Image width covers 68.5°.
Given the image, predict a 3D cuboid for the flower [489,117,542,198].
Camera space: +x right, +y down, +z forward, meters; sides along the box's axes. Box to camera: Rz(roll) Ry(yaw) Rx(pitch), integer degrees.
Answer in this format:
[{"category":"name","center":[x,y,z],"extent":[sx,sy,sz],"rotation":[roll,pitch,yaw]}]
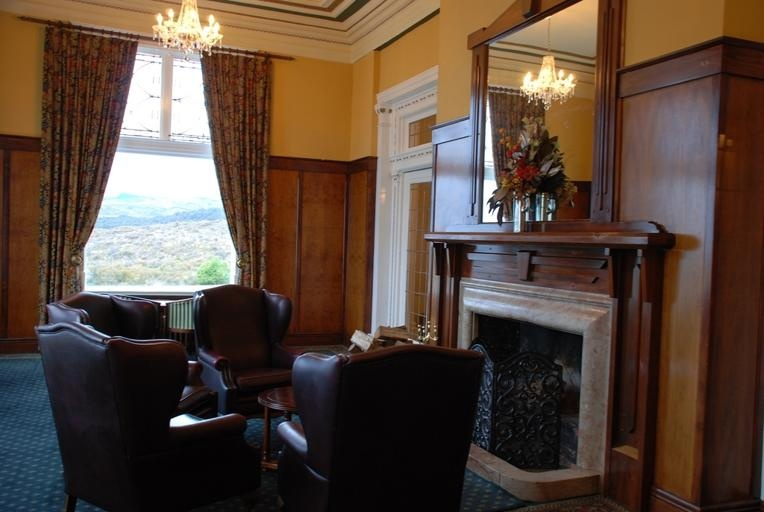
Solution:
[{"category":"flower","center":[1.222,-0.888,5.090],"extent":[0.515,0.790,0.171],"rotation":[3,-2,19]}]

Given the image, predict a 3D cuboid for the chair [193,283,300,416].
[{"category":"chair","center":[-1.372,0.889,5.767],"extent":[1.141,1.405,1.165],"rotation":[1,-5,-27]}]
